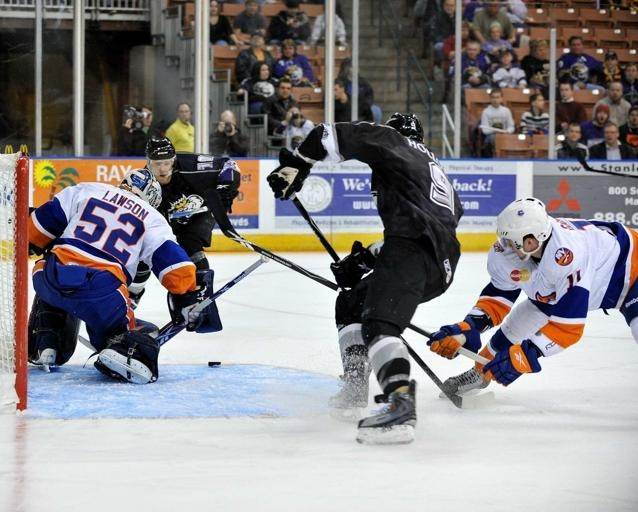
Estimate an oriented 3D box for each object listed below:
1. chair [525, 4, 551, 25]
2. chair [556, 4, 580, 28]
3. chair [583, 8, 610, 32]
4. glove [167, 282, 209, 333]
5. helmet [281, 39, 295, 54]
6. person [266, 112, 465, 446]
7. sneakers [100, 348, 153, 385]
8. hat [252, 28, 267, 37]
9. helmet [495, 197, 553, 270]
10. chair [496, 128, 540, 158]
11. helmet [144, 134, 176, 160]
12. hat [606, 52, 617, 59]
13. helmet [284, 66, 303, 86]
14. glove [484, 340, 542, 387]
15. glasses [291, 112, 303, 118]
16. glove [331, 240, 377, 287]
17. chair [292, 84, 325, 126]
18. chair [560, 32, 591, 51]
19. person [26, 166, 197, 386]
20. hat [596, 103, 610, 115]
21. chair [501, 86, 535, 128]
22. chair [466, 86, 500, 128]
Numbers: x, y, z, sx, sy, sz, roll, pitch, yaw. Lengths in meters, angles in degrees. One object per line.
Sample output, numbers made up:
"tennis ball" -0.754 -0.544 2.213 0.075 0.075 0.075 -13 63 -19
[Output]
"chair" 2.318 -2.576 10.959 0.313 0.190 0.187 -5 14 -25
"chair" 2.735 -2.650 11.364 0.346 0.207 0.168 3 -28 -10
"chair" 3.073 -2.623 11.454 0.331 0.156 0.268 5 44 4
"glove" -0.694 0.275 5.417 0.278 0.177 0.116 -5 5 -39
"helmet" -0.295 -2.053 10.128 0.130 0.133 0.153 -1 -21 1
"person" 0.244 0.062 4.490 0.817 1.318 0.921 -1 12 -14
"sneakers" -0.915 0.541 4.947 0.362 0.106 0.148 16 1 -6
"hat" -0.598 -2.214 10.187 0.122 0.037 0.087 1 0 -14
"helmet" 0.920 -0.115 4.611 0.238 0.280 0.168 4 12 11
"chair" 1.991 -1.119 10.411 0.315 0.364 0.295 3 25 5
"helmet" -0.888 -0.608 5.777 0.154 0.128 0.208 0 11 -7
"hat" 3.151 -2.165 11.094 0.105 0.065 0.096 1 -5 1
"helmet" -0.252 -1.778 10.137 0.195 0.184 0.147 1 7 8
"glove" 0.856 0.467 4.566 0.249 0.169 0.100 -27 12 15
"glasses" -0.216 -1.360 9.957 0.095 0.088 0.058 -4 14 -44
"glove" 0.143 0.038 4.732 0.094 0.144 0.259 16 32 43
"chair" -0.195 -1.499 10.127 0.441 0.357 0.255 -4 20 -35
"chair" 2.718 -2.259 10.930 0.231 0.269 0.227 -3 -34 8
"person" -1.061 0.119 5.076 0.793 0.947 0.438 8 14 28
"hat" 2.922 -1.523 10.582 0.112 0.073 0.103 7 9 -3
"chair" 2.006 -1.517 10.415 0.418 0.419 0.395 0 0 -2
"chair" 1.542 -1.483 10.295 0.381 0.438 0.343 -3 20 -13
